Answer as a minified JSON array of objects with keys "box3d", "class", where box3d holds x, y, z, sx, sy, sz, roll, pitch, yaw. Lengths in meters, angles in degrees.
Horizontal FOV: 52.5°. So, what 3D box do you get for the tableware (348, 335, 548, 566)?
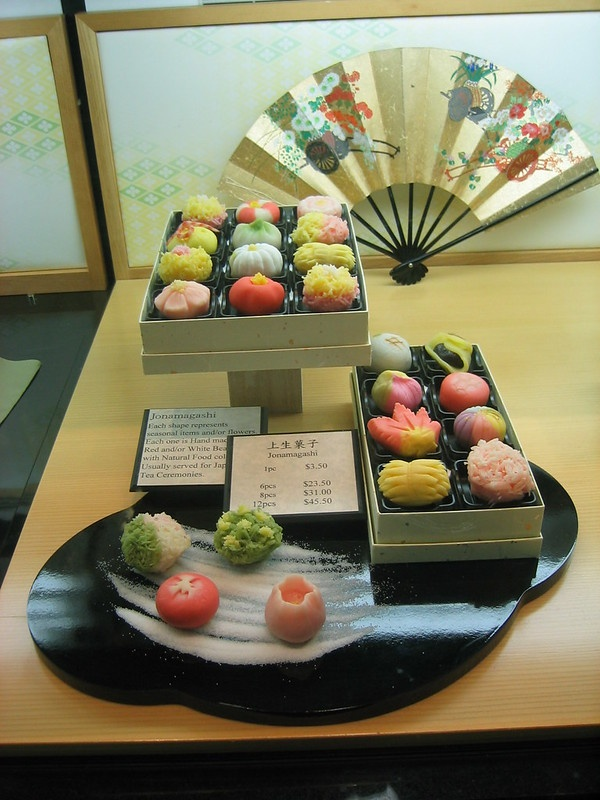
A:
[{"box3d":[0.277,0.115,1.262,0.341,0.114,0.441,-2,38,-1],"class":"tableware"}]
